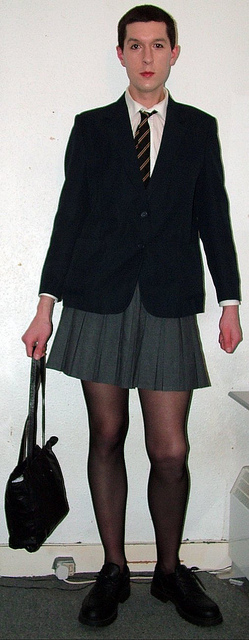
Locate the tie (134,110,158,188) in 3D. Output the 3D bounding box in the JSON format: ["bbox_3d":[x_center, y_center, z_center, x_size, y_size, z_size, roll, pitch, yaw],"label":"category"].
[{"bbox_3d":[0.056,-0.458,1.337,0.059,0.212,0.051,0,3,-3],"label":"tie"}]

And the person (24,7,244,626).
[{"bbox_3d":[0.030,0.018,1.423,0.581,1.678,0.251,1,3,15],"label":"person"}]

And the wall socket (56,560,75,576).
[{"bbox_3d":[-0.202,0.803,1.655,0.063,0.056,0.041,1,5,-4],"label":"wall socket"}]

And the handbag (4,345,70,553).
[{"bbox_3d":[-0.243,0.355,1.434,0.092,0.570,0.209,2,4,32],"label":"handbag"}]
